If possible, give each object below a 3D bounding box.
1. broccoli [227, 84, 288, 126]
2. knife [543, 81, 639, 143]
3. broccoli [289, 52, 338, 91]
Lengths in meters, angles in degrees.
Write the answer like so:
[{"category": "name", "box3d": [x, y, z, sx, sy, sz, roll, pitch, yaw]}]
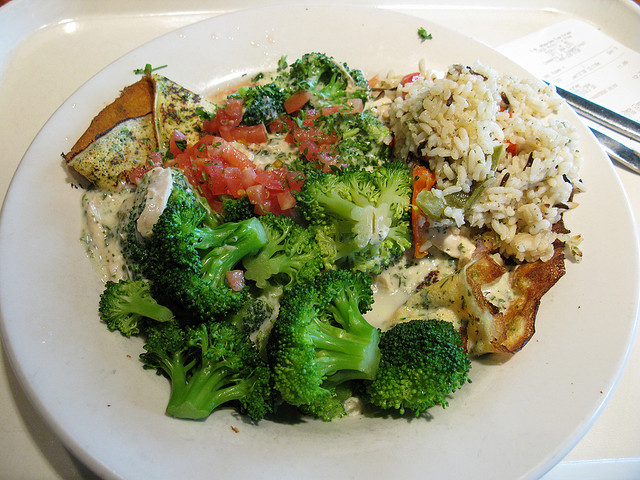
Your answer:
[{"category": "broccoli", "box3d": [-0.378, -0.903, 3.873, 0.293, 0.155, 0.325, 5, 66, 6]}, {"category": "knife", "box3d": [1.948, -0.919, 4.153, 0.930, 0.040, 0.110, 39, 78, 17]}, {"category": "broccoli", "box3d": [-0.046, -1.172, 3.961, 0.276, 0.094, 0.278, -34, 65, -25]}]
